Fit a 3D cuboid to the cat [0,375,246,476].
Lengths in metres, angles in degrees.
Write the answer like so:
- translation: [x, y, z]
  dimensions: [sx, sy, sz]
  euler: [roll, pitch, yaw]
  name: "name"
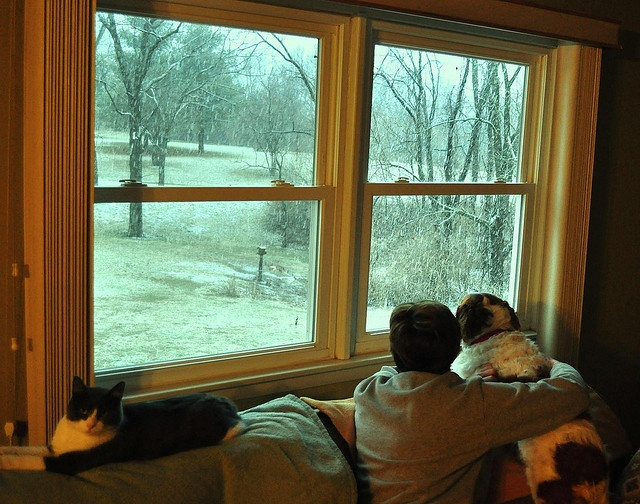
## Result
- translation: [-0.571, 0.495, 1.919]
  dimensions: [0.760, 0.285, 0.239]
  euler: [4, -2, -27]
  name: "cat"
